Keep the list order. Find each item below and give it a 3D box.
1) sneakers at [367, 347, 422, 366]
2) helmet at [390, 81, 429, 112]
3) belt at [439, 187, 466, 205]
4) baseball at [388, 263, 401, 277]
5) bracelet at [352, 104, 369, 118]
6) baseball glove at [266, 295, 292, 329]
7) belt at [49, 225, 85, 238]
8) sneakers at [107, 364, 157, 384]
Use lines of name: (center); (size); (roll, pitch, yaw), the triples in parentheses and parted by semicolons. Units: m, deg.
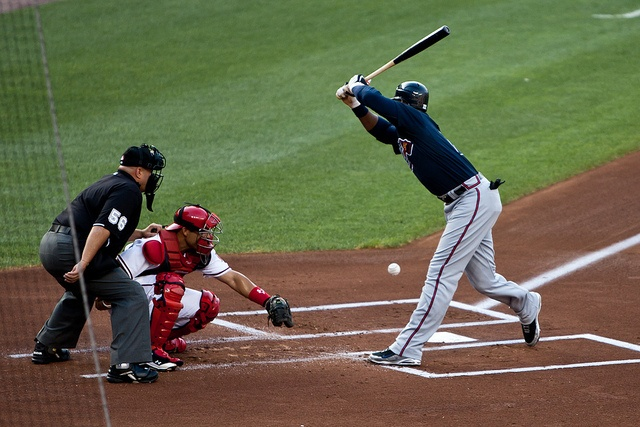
sneakers: (0.988, 1.908, 13.240); (0.698, 0.250, 0.243); (4, 1, 1)
helmet: (1.217, -1.660, 13.628); (0.510, 0.336, 0.347); (5, 17, -3)
belt: (1.819, -0.221, 13.379); (0.278, 0.091, 0.267); (-26, 3, 10)
baseball: (1.128, 0.871, 15.172); (0.232, 0.137, 0.195); (-2, 9, 1)
bracelet: (0.563, -1.426, 13.732); (0.221, 0.171, 0.214); (3, 13, 35)
baseball glove: (-0.547, 1.306, 13.136); (0.353, 0.424, 0.192); (-15, -16, -9)
belt: (-3.311, 0.214, 12.861); (0.266, 0.062, 0.237); (15, -15, 1)
sneakers: (-2.410, 2.085, 12.781); (0.671, 0.246, 0.236); (0, 12, -3)
